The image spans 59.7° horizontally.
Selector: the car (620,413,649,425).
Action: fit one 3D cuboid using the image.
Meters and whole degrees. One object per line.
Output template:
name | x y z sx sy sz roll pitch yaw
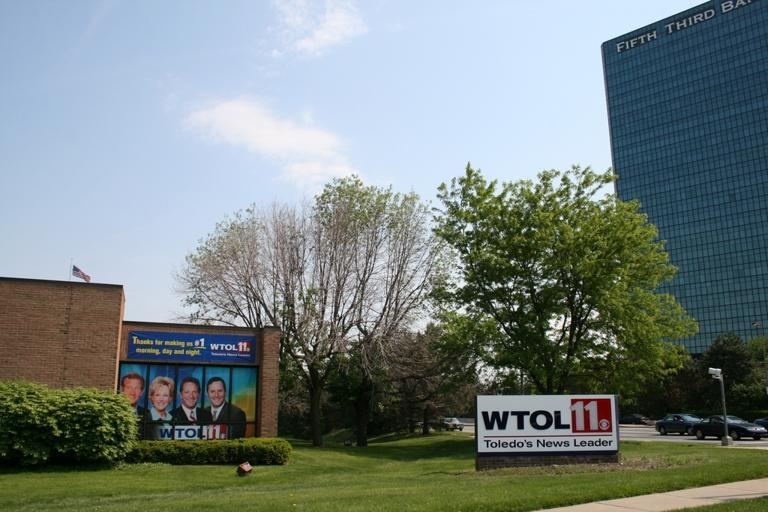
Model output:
car | 26.691 17.461 71.391 2.504 1.226 4.298 -2 -16 -3
